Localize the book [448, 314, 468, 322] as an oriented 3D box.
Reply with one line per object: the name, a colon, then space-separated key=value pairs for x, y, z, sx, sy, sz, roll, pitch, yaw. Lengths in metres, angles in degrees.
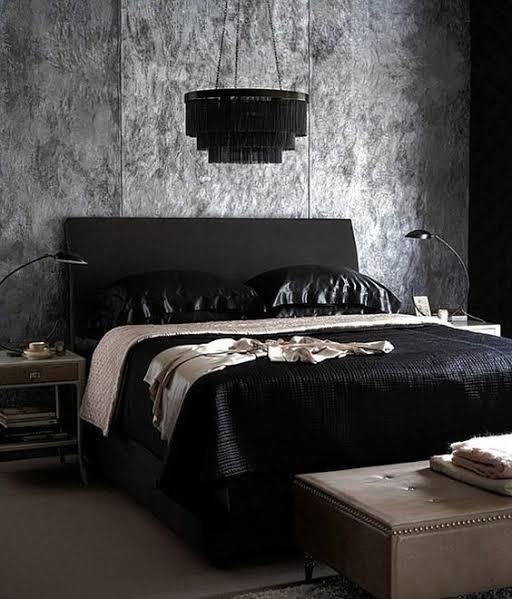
book: x=1.584 y=0.141 z=4.430 sx=0.094 sy=0.036 sz=0.090 roll=3 pitch=6 yaw=23

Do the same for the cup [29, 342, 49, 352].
cup: x=-1.179 y=0.250 z=3.061 sx=0.079 sy=0.043 sz=0.060 roll=3 pitch=0 yaw=-3
